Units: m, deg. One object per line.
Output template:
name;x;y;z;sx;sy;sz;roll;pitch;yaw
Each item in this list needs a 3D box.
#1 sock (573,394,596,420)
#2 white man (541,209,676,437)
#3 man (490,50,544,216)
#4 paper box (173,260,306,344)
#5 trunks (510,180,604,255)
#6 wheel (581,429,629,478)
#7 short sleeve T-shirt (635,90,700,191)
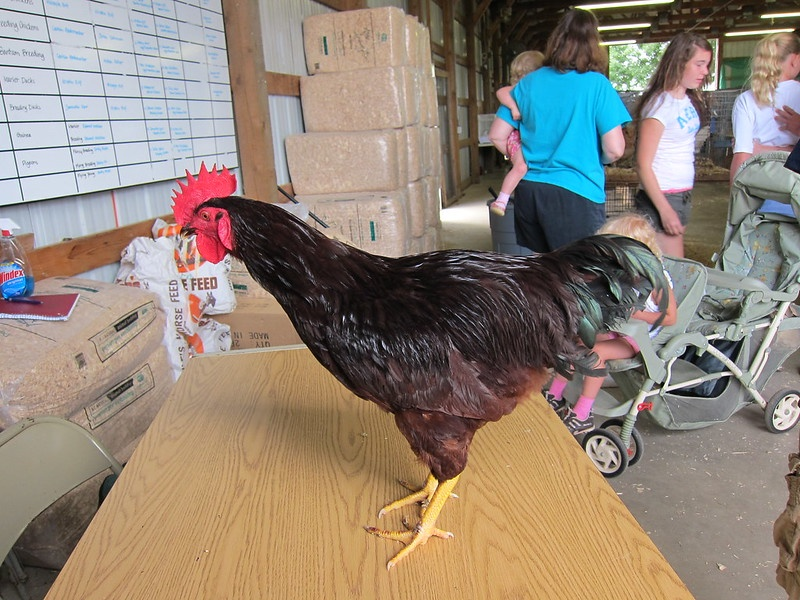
sock;0.987;0.574;2.817;0.143;0.143;0.088;17;2;-44
white man;1.058;0.210;2.809;0.791;0.889;0.762;-10;6;23
man;0.806;-1.202;3.744;0.384;1.143;0.365;8;25;22
paper box;-0.946;0.001;3.245;0.634;0.565;0.151;-3;-5;12
trunks;0.999;-0.550;3.295;0.375;0.501;0.597;-6;15;-26
wheel;1.115;0.814;2.741;0.106;0.245;0.248;-5;11;-41
short sleeve T-shirt;1.722;-1.045;3.304;0.231;0.548;0.561;11;26;41
